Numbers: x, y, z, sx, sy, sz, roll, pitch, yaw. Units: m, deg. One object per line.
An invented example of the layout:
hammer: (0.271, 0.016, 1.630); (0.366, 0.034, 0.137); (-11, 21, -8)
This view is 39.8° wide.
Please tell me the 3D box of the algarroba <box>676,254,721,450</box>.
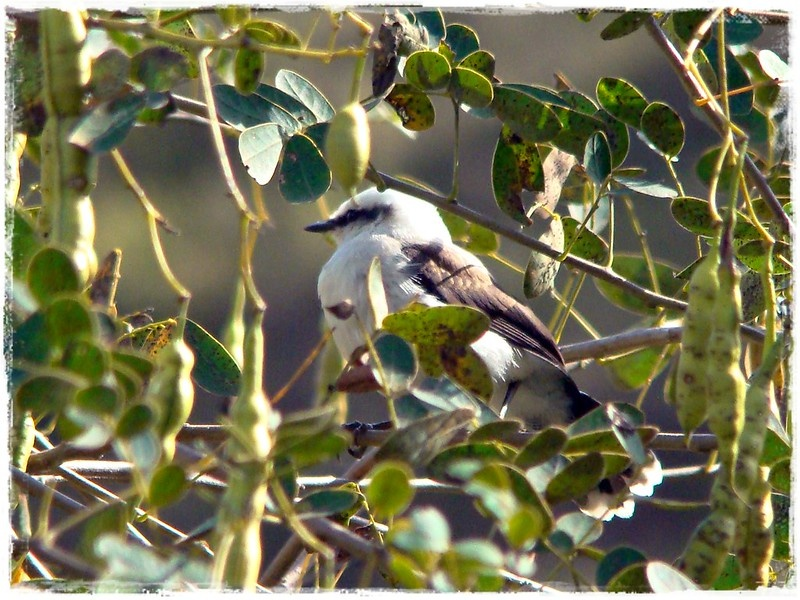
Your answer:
algarroba: (0.618, 0.094, 2.304); (0.090, 0.352, 0.090); (3, 14, 15)

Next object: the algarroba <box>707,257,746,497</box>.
algarroba: (0.679, 0.129, 2.292); (0.082, 0.475, 0.077); (2, 9, 45)
